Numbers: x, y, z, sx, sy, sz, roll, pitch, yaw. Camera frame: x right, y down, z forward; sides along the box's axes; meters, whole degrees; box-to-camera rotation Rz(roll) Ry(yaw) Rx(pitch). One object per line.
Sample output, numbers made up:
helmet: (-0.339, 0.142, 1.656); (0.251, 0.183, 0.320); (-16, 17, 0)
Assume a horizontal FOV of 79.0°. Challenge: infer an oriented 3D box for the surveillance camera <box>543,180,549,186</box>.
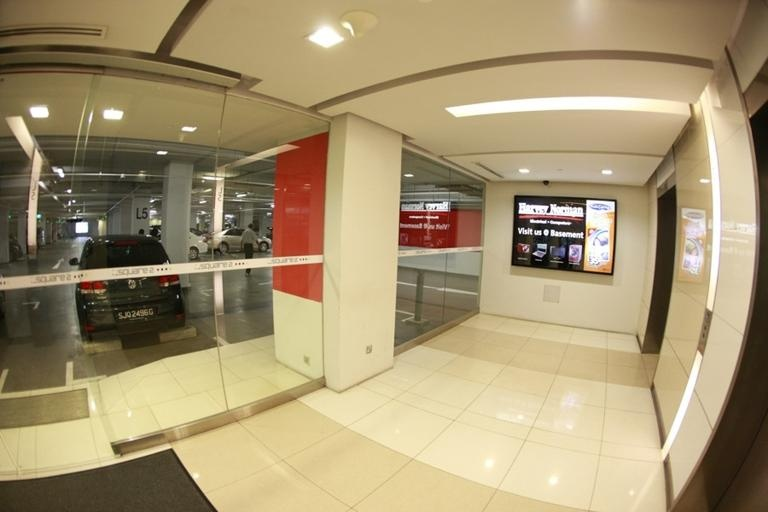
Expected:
surveillance camera: (3.201, -1.435, 9.198); (0.143, 0.086, 0.077); (4, 6, 15)
